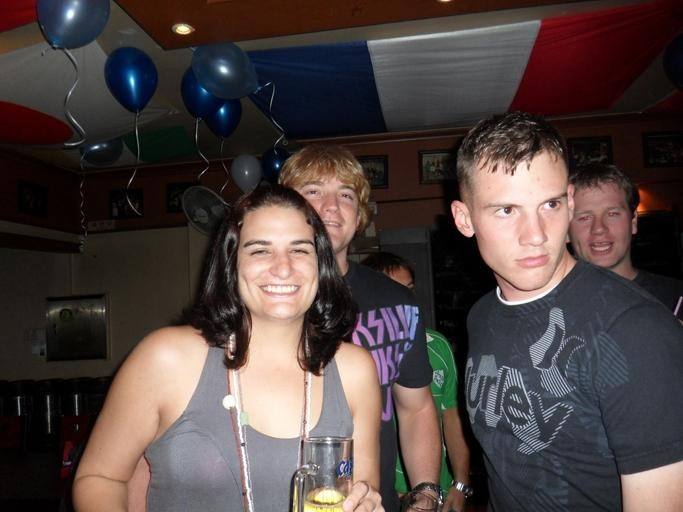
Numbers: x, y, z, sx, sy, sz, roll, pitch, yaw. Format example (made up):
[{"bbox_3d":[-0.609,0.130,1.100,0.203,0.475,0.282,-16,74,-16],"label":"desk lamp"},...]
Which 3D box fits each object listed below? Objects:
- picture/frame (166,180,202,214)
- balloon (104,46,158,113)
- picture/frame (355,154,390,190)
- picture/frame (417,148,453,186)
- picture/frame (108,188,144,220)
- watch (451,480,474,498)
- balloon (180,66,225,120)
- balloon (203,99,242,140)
[{"bbox_3d":[-2.050,-0.749,7.293,0.399,0.430,0.098,0,-3,14],"label":"picture/frame"},{"bbox_3d":[-1.602,-1.357,4.443,0.356,0.478,0.416,2,27,5],"label":"balloon"},{"bbox_3d":[0.298,-0.957,6.535,0.348,0.392,0.020,-1,-18,-2],"label":"picture/frame"},{"bbox_3d":[1.060,-1.010,6.470,0.393,0.374,0.020,-1,-18,6],"label":"picture/frame"},{"bbox_3d":[-2.719,-0.663,7.357,0.351,0.376,0.041,1,-2,10],"label":"picture/frame"},{"bbox_3d":[0.641,1.253,3.121,0.112,0.078,0.119,25,-20,-14],"label":"watch"},{"bbox_3d":[-1.198,-1.320,4.684,0.311,0.433,0.324,-2,19,-15],"label":"balloon"},{"bbox_3d":[-0.991,-1.197,5.070,0.269,0.398,0.323,14,13,-1],"label":"balloon"}]
